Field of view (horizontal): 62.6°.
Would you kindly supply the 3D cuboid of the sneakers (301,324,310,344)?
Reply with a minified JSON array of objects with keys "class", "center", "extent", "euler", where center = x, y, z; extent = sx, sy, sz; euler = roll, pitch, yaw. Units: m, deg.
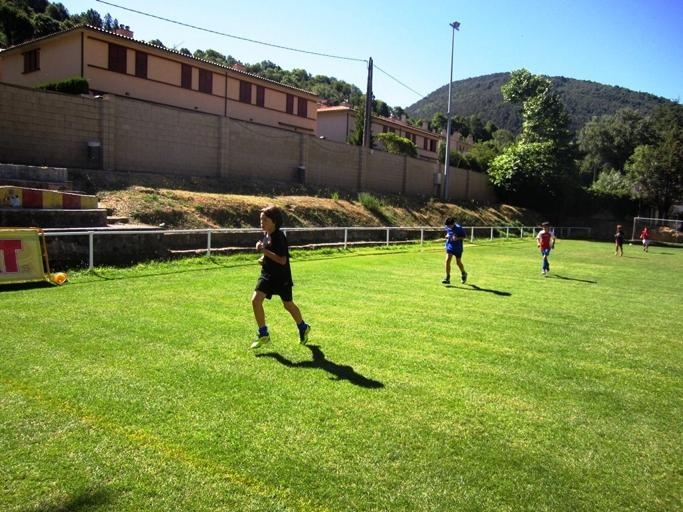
[{"class":"sneakers","center":[-0.541,1.190,8.516],"extent":[0.101,0.342,0.133],"euler":[7,4,30]}]

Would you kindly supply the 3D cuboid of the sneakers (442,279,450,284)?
[{"class":"sneakers","center":[2.725,0.677,14.733],"extent":[0.167,0.134,0.094],"euler":[4,-2,38]}]

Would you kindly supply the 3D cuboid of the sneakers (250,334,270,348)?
[{"class":"sneakers","center":[-1.195,1.259,8.232],"extent":[0.124,0.176,0.360],"euler":[-1,-1,25]}]

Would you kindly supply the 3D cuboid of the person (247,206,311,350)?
[{"class":"person","center":[-0.917,0.312,8.477],"extent":[0.834,2.152,1.303],"euler":[0,13,-8]}]
